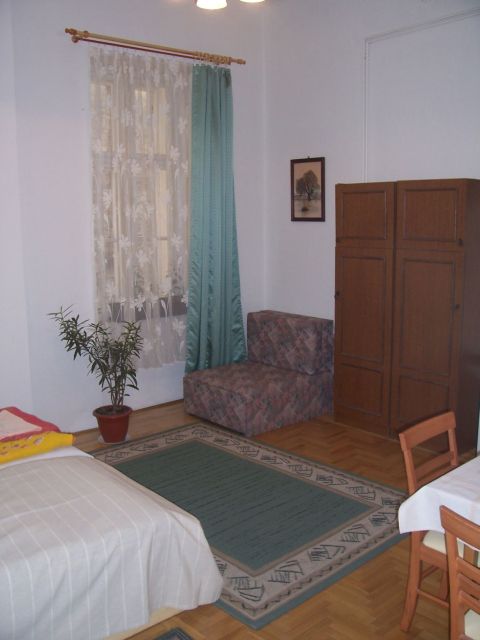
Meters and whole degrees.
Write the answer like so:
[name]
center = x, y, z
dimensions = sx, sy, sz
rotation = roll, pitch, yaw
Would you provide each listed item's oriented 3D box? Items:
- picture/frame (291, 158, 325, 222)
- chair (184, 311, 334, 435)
[picture/frame]
center = 0.640, -1.231, 4.706
dimensions = 0.049, 0.741, 0.503
rotation = -11, 15, -38
[chair]
center = 0.169, 0.453, 4.503
dimensions = 1.070, 0.952, 0.972
rotation = -7, 11, -41
